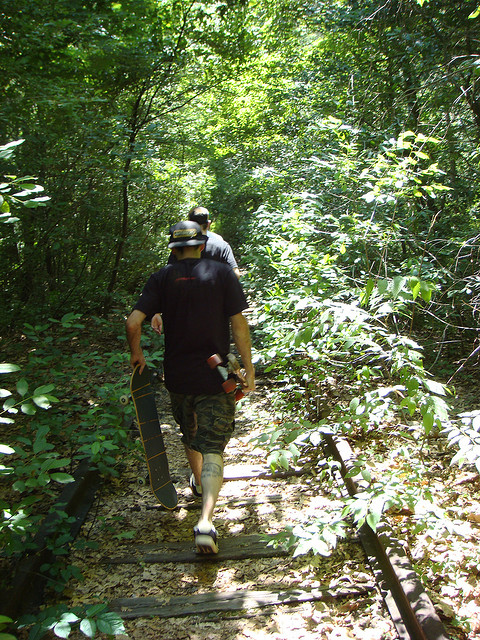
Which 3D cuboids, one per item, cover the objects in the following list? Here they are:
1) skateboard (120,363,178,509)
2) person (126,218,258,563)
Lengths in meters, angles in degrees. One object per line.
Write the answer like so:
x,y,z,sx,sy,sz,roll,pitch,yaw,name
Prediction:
-0.603,0.815,3.793,0.227,1.149,0.304,-14,1,34,skateboard
-0.218,0.223,3.482,0.688,1.646,0.941,-11,19,-37,person
